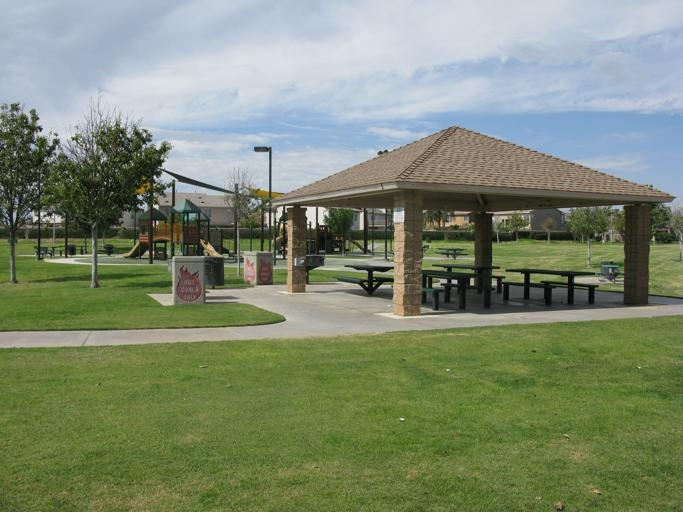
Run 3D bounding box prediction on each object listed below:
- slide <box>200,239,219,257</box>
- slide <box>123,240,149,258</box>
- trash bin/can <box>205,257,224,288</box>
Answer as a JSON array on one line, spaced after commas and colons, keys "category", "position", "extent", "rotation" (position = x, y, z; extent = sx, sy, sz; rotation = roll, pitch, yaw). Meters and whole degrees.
[{"category": "slide", "position": [-9.670, -0.632, 39.133], "extent": [0.880, 0.150, 3.572], "rotation": [-9, 21, -21]}, {"category": "slide", "position": [-16.991, -0.639, 44.713], "extent": [2.030, 1.523, 1.241], "rotation": [1, 9, -4]}, {"category": "trash bin/can", "position": [-4.862, 0.617, 20.553], "extent": [0.732, 1.313, 0.617], "rotation": [-5, 12, -34]}]
